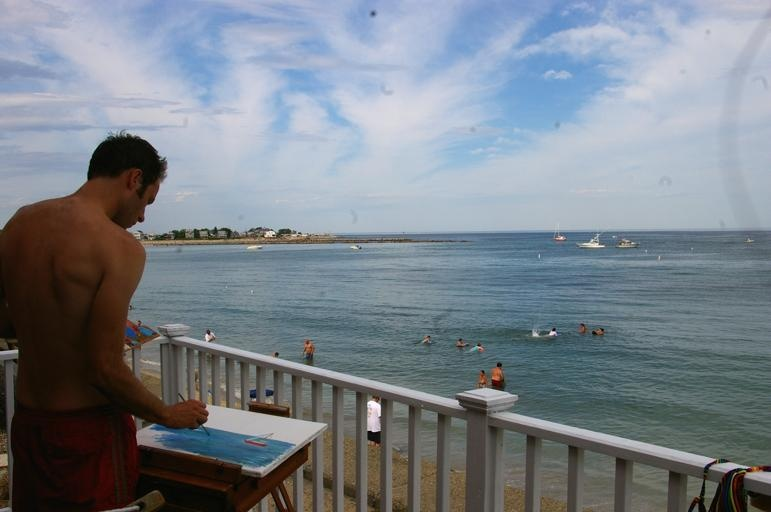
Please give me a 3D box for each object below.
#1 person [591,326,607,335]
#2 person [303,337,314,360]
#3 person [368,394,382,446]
[{"bbox_3d":[13.398,4.673,34.861,0.772,0.294,0.567,-2,4,-38],"label":"person"},{"bbox_3d":[-3.924,5.057,29.558,0.524,1.571,0.715,3,-13,-16],"label":"person"},{"bbox_3d":[-0.296,4.672,15.677,0.299,0.862,0.935,-1,-1,-7],"label":"person"}]
